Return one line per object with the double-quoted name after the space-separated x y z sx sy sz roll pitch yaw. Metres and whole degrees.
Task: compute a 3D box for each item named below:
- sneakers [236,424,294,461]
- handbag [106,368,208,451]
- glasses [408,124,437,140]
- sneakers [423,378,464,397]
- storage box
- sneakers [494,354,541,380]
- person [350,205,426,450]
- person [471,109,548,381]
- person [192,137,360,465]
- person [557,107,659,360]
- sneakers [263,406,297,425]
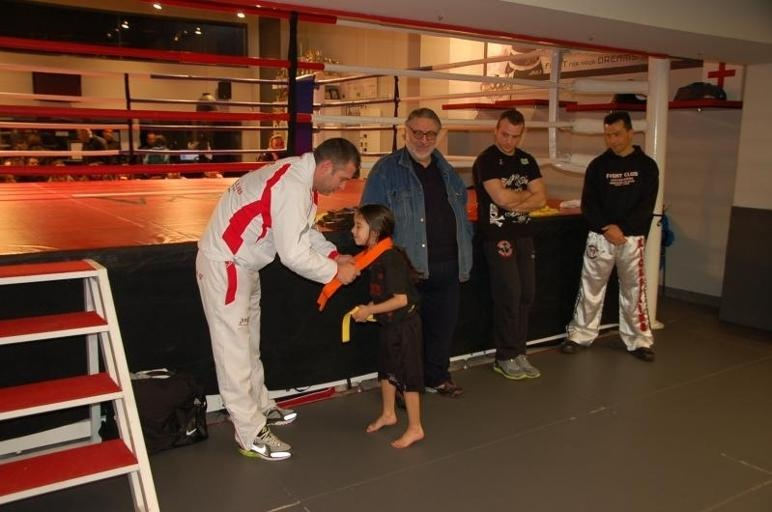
-0.756 1.219 3.454 0.408 0.217 0.152 2 3 5 "sneakers"
-1.544 0.971 3.559 0.621 0.533 0.454 -14 27 -22 "handbag"
0.254 -0.867 3.658 0.231 0.129 0.143 -1 15 4 "glasses"
0.457 1.042 4.132 0.292 0.113 0.123 -1 1 18 "sneakers"
-1.544 0.976 3.573 0.649 0.559 0.468 -14 28 -23 "storage box"
1.112 0.931 4.391 0.202 0.136 0.321 -2 3 -44 "sneakers"
0.046 0.439 3.527 0.499 1.577 0.542 5 17 27 "person"
1.011 -0.069 4.283 0.558 2.171 0.472 -1 16 7 "person"
-0.681 0.272 3.375 0.962 1.989 0.548 -8 16 -20 "person"
2.086 -0.182 4.696 0.750 2.172 0.621 4 17 24 "person"
-0.757 1.141 3.717 0.241 0.100 0.091 -2 8 -18 "sneakers"
